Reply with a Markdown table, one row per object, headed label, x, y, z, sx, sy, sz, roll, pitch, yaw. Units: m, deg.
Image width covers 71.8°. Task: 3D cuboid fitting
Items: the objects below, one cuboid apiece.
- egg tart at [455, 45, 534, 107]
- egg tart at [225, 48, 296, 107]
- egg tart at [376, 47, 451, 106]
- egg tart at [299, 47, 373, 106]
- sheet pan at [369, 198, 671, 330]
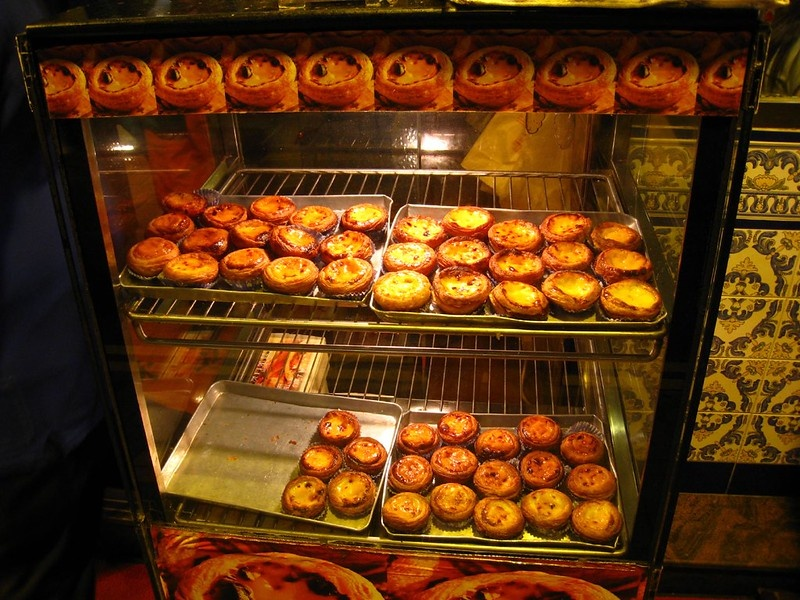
| label | x | y | z | sx | sy | sz | roll | pitch | yaw |
| --- | --- | --- | --- | --- | --- | --- | --- | --- | --- |
| egg tart | 0.215 | -0.515 | 1.281 | 0.172 | 0.038 | 0.137 | 7 | -49 | 4 |
| egg tart | -0.328 | -0.524 | 1.313 | 0.160 | 0.051 | 0.131 | 5 | -50 | 6 |
| egg tart | 0.030 | -0.520 | 1.294 | 0.171 | 0.042 | 0.136 | 4 | -49 | 7 |
| egg tart | -0.151 | -0.523 | 1.303 | 0.167 | 0.045 | 0.132 | 6 | -49 | 5 |
| sheet pan | 0.329 | -0.122 | 1.633 | 0.756 | 0.391 | 0.082 | 2 | -49 | 7 |
